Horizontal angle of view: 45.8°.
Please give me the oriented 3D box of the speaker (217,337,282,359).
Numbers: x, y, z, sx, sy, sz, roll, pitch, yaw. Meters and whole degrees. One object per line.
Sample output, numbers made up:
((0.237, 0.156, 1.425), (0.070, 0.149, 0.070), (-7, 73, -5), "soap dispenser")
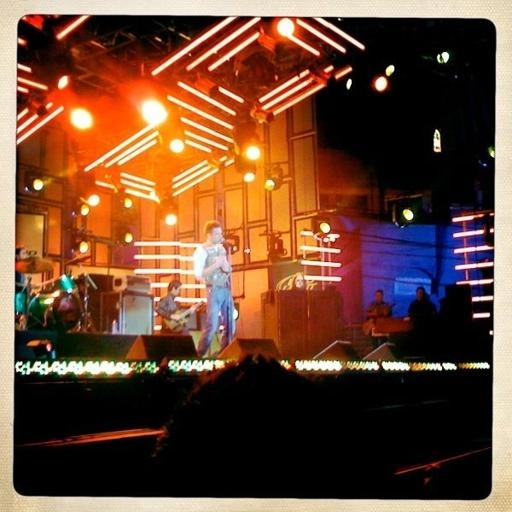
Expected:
((-0.023, 0.692, 4.610), (0.249, 0.123, 0.253), (13, -28, -37), "speaker")

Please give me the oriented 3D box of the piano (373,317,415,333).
((1.319, 0.679, 5.964), (0.128, 0.161, 0.503), (1, -4, -34), "piano")

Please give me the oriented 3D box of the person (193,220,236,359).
((-0.357, 0.264, 5.085), (0.256, 1.115, 0.348), (-3, -4, 35), "person")

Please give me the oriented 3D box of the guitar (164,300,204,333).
((-0.747, 0.630, 6.471), (0.515, 0.232, 0.060), (-39, 12, -35), "guitar")

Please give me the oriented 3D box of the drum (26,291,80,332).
((-1.715, 0.463, 5.141), (0.296, 0.344, 0.549), (-2, -3, 8), "drum")

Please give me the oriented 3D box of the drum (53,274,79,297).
((-1.659, 0.257, 5.293), (0.149, 0.162, 0.267), (1, 7, -20), "drum")

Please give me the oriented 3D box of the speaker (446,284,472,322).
((1.904, 0.439, 5.684), (0.242, 0.349, 0.265), (-2, -3, 12), "speaker")

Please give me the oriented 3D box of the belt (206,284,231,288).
((-0.313, 0.251, 5.091), (0.203, 0.033, 0.090), (-1, -3, -9), "belt")
